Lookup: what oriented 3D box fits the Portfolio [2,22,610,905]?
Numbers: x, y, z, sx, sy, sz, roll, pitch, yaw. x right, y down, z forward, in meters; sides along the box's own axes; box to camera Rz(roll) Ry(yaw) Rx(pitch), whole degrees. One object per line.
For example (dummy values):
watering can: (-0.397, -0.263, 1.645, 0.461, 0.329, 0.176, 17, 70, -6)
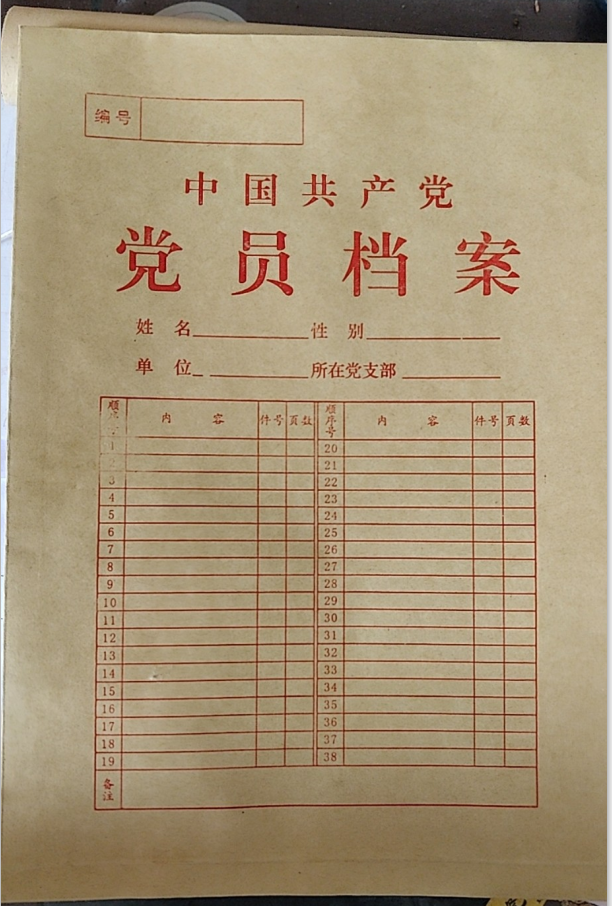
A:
Portfolio: (-0.014, 0.042, 1.444, 0.630, 0.111, 0.782, 0, -86, -3)
